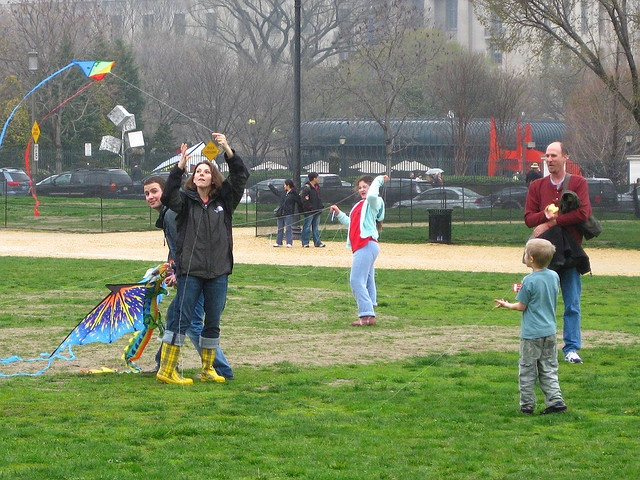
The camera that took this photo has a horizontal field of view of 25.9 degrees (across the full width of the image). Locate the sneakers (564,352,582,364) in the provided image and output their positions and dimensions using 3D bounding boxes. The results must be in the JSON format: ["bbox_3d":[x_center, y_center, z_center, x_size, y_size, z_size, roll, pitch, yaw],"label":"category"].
[{"bbox_3d":[7.281,3.410,40.078,0.242,0.230,0.488,-2,-1,-24],"label":"sneakers"}]

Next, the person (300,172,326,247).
[{"bbox_3d":[-0.298,-1.314,55.739,0.816,3.103,1.064,-1,0,36],"label":"person"}]

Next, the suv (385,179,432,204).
[{"bbox_3d":[4.276,-2.534,68.880,1.955,0.958,1.235,1,5,7],"label":"suv"}]

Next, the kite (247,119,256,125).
[{"bbox_3d":[-4.367,-7.910,88.978,0.368,0.262,0.510,-2,-28,-5],"label":"kite"}]

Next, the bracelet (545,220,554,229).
[{"bbox_3d":[6.623,-0.515,40.058,0.213,0.228,0.138,7,-22,24],"label":"bracelet"}]

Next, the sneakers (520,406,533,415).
[{"bbox_3d":[5.680,4.728,38.339,0.358,0.230,0.087,-1,3,7],"label":"sneakers"}]

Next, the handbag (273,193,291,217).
[{"bbox_3d":[-1.449,-1.520,55.759,0.421,0.981,0.879,-3,4,-36],"label":"handbag"}]

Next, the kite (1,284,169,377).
[{"bbox_3d":[-6.509,2.060,41.269,3.547,3.161,3.355,-1,7,-13],"label":"kite"}]

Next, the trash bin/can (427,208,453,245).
[{"bbox_3d":[4.913,-0.689,57.699,1.377,1.738,1.212,0,0,-2],"label":"trash bin/can"}]

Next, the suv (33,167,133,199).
[{"bbox_3d":[-12.092,-2.858,71.905,4.108,1.783,3.564,3,11,15],"label":"suv"}]
